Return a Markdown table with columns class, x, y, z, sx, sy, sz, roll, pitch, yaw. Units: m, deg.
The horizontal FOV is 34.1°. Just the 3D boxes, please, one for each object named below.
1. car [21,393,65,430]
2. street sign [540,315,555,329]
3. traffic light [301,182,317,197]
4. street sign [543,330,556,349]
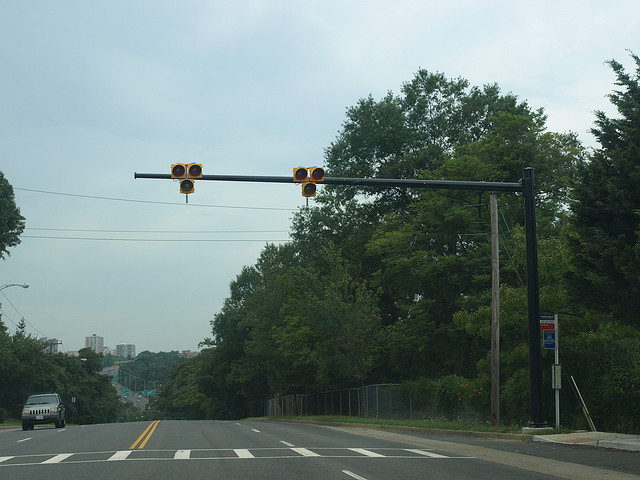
| class | x | y | z | sx | sy | sz | roll | pitch | yaw |
| --- | --- | --- | --- | --- | --- | --- | --- | --- | --- |
| car | -15.811 | 9.674 | 59.408 | 1.636 | 2.419 | 3.282 | -4 | -17 | 9 |
| street sign | 9.776 | 3.515 | 45.171 | 0.499 | 0.392 | 0.517 | 0 | -6 | 0 |
| traffic light | -0.466 | -2.068 | 43.437 | 0.554 | 0.629 | 0.683 | -1 | -17 | -1 |
| street sign | 9.879 | 4.225 | 44.978 | 0.681 | 1.093 | 0.103 | -2 | -2 | 11 |
